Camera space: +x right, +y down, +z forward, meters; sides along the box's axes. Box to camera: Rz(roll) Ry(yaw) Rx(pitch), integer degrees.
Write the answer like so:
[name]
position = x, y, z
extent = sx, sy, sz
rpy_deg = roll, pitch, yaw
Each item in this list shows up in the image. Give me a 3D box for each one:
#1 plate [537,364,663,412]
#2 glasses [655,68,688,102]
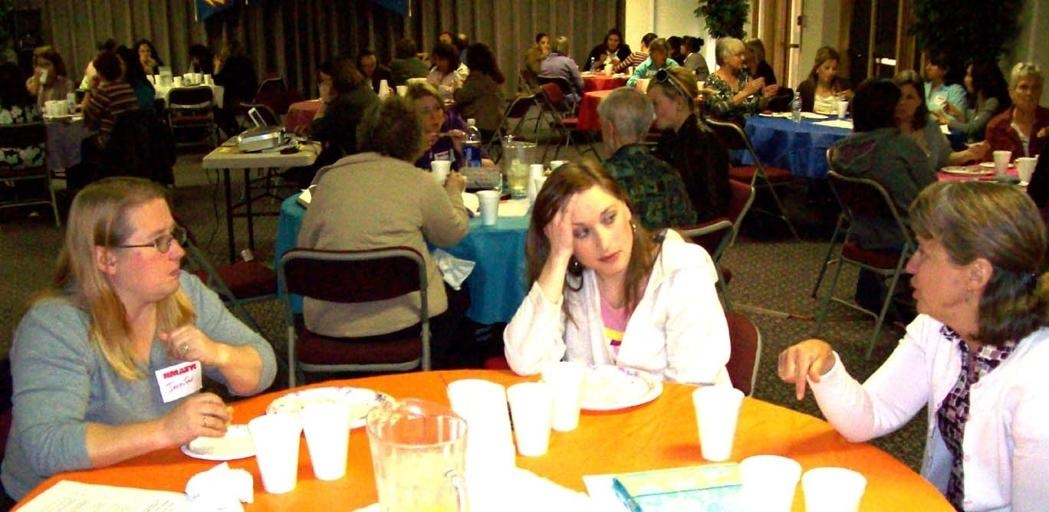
[plate]
position = 0.363, 0.562, 3.008
extent = 0.314, 0.037, 0.301
rpy_deg = -12, 21, -36
[glasses]
position = 1.171, -1.323, 5.608
extent = 0.263, 0.079, 0.213
rpy_deg = 26, -1, -27
